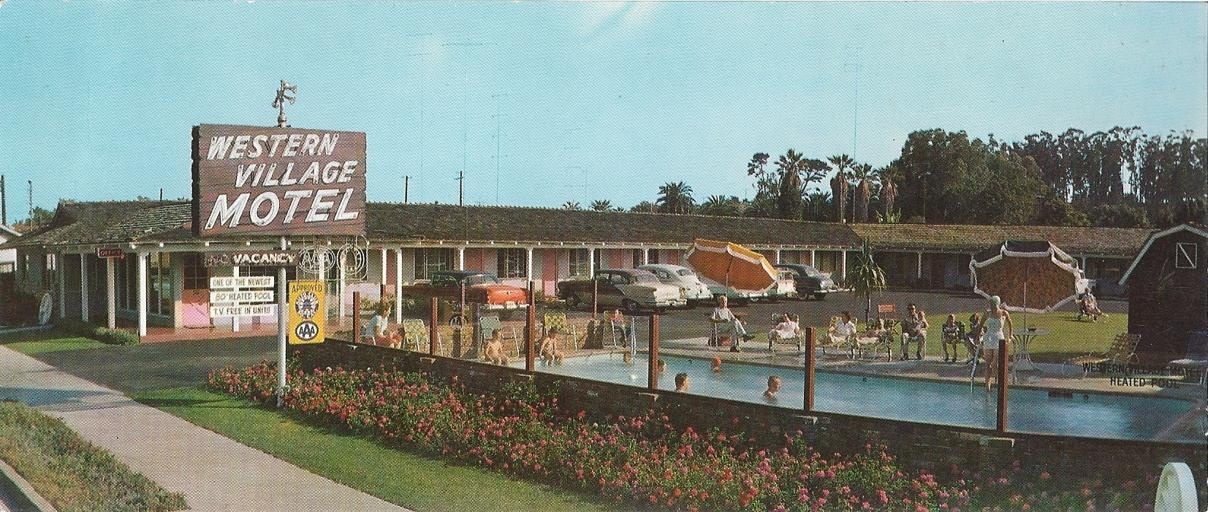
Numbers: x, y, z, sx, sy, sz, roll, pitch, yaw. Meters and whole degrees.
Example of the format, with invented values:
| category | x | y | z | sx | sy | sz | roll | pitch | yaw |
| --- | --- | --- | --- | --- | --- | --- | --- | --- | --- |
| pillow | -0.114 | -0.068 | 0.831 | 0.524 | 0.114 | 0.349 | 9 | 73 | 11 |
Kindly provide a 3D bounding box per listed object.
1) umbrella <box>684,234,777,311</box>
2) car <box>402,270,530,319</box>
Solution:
| category | x | y | z | sx | sy | sz | roll | pitch | yaw |
| --- | --- | --- | --- | --- | --- | --- | --- | --- | --- |
| umbrella | 7.094 | 0.516 | 70.922 | 4.512 | 2.684 | 1.100 | 1 | -1 | 4 |
| car | -7.170 | 2.793 | 74.922 | 3.970 | 1.671 | 6.355 | -1 | 3 | -29 |
